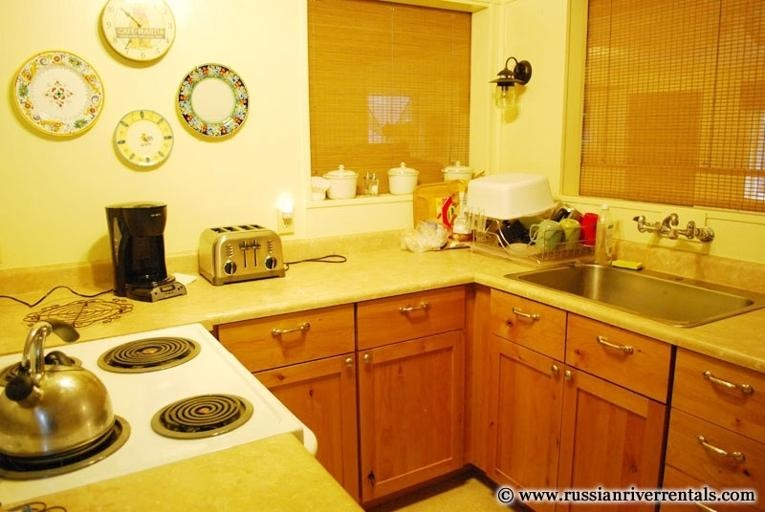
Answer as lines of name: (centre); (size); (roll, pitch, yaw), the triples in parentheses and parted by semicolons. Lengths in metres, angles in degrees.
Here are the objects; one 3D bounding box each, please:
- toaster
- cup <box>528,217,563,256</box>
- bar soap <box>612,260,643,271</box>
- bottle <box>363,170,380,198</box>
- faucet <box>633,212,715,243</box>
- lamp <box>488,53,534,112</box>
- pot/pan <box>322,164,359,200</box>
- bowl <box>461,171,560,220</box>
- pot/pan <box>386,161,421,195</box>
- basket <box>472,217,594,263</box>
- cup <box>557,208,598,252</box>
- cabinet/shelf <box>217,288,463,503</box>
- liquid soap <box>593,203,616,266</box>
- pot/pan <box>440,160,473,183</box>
toaster: (-0.699, -0.026, 2.720); (0.445, 0.221, 0.469); (4, 12, 20)
cup: (0.845, -0.108, 2.824); (0.147, 0.161, 0.188); (-4, 14, -6)
bar soap: (1.199, 0.036, 2.692); (0.082, 0.019, 0.058); (11, 16, 40)
bottle: (-0.048, -0.438, 3.234); (0.113, 0.138, 0.074); (-14, 18, -38)
faucet: (1.336, -0.144, 2.591); (0.132, 0.136, 0.374); (-11, 17, -32)
lamp: (0.710, -1.028, 3.228); (0.221, 0.311, 0.246); (-9, 16, -26)
pot/pan: (-0.228, -0.421, 3.031); (0.190, 0.165, 0.186); (-1, 8, -4)
bowl: (0.637, -0.325, 2.902); (0.343, 0.140, 0.290); (-11, 15, -34)
pot/pan: (0.124, -0.476, 3.239); (0.189, 0.177, 0.191); (7, 15, 28)
basket: (0.859, -0.080, 2.855); (0.359, 0.101, 0.348); (-7, -6, -22)
cup: (1.001, -0.132, 2.796); (0.148, 0.183, 0.250); (-4, 19, -42)
cabinet/shelf: (-0.180, 0.519, 2.252); (0.949, 0.838, 0.501); (-8, 14, -31)
liquid soap: (1.104, -0.112, 2.740); (0.082, 0.287, 0.092); (1, 15, 15)
pot/pan: (0.450, -0.507, 3.327); (0.157, 0.127, 0.153); (-2, 6, -19)
